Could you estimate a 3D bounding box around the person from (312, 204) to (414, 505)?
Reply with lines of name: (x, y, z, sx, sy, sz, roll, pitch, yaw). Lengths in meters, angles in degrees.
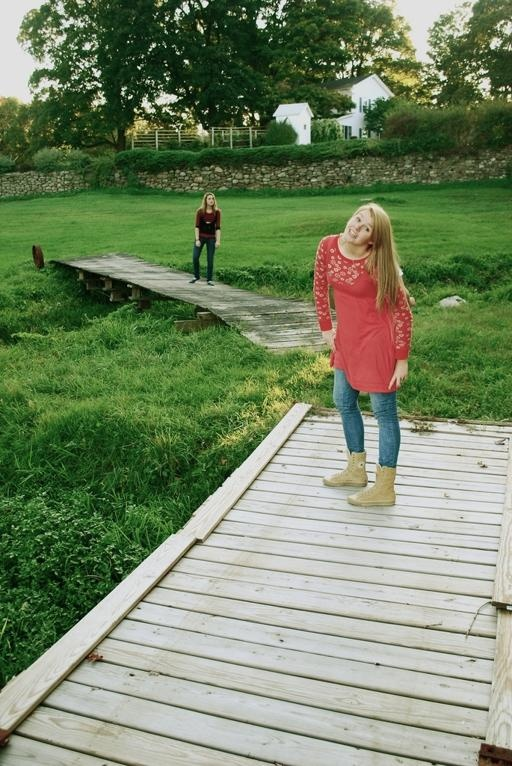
person: (0.595, -0.142, 3.758, 0.350, 1.659, 0.561, -12, 16, -29)

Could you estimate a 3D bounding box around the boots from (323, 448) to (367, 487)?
boots: (0.518, 0.530, 4.058, 0.323, 0.227, 0.140, 1, 6, 18)

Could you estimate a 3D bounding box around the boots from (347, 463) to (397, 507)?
boots: (0.682, 0.589, 3.842, 0.340, 0.284, 0.152, 1, 7, 7)

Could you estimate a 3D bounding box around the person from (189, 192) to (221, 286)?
person: (-0.973, -2.660, 12.541, 0.613, 1.669, 0.841, -4, 14, -3)
